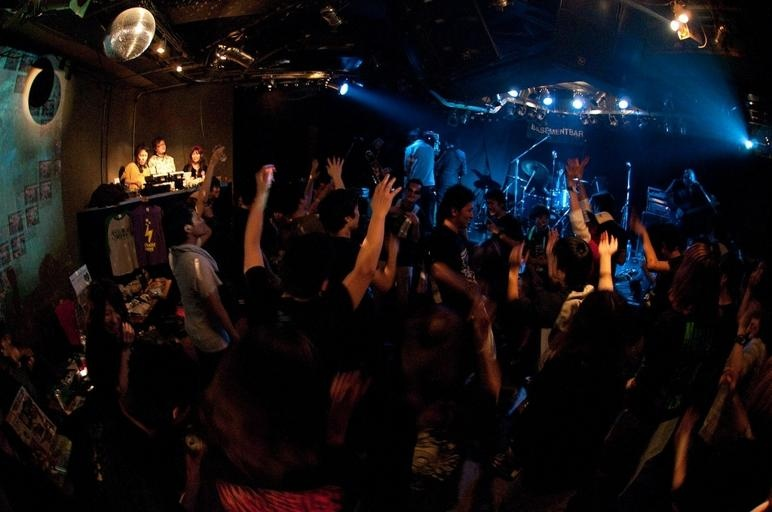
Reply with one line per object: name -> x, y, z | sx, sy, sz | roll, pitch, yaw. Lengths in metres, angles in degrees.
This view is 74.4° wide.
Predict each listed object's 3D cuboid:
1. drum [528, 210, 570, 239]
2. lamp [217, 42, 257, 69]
drum -> 1.979, -0.381, 6.206 | 0.362, 0.496, 0.196 | 1, -4, 17
lamp -> -1.468, -1.954, 5.014 | 0.377, 0.199, 0.088 | 20, -10, 2
